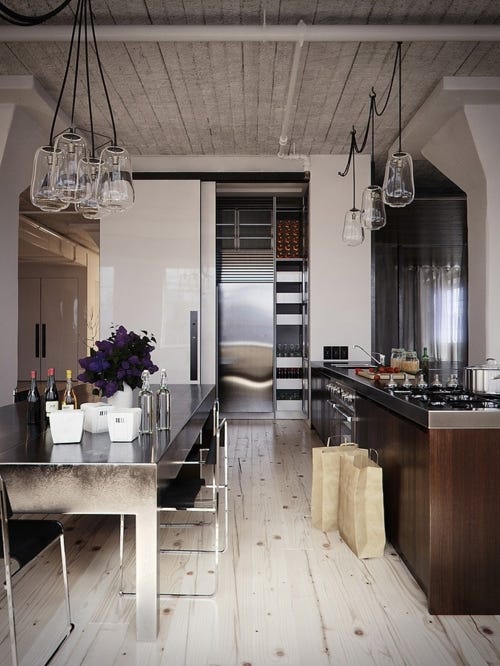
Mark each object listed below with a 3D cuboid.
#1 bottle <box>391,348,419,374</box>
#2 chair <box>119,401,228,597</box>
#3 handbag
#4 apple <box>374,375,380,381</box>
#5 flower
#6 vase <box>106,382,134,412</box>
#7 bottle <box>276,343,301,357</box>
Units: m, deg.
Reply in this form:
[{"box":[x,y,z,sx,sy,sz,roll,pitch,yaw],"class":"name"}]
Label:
[{"box":[1.135,0.204,3.654,0.126,0.262,0.214,0,-1,-29],"class":"bottle"},{"box":[-0.313,0.891,2.821,0.547,1.459,0.699,1,1,0],"class":"chair"},{"box":[0.486,0.753,2.625,0.299,0.637,0.607,0,-2,-7],"class":"handbag"},{"box":[0.886,0.314,3.418,0.030,0.039,0.037,16,14,3],"class":"apple"},{"box":[-0.678,0.170,2.619,0.362,0.353,0.388,4,5,35],"class":"flower"},{"box":[-0.655,0.315,2.509,0.112,0.183,0.156,1,-2,-2],"class":"vase"},{"box":[0.553,0.235,6.952,0.347,0.174,0.113,0,-1,-7],"class":"bottle"}]
